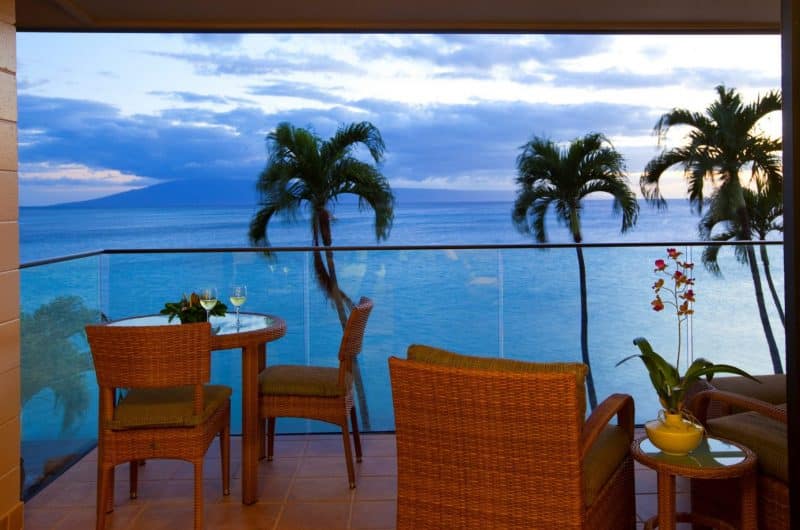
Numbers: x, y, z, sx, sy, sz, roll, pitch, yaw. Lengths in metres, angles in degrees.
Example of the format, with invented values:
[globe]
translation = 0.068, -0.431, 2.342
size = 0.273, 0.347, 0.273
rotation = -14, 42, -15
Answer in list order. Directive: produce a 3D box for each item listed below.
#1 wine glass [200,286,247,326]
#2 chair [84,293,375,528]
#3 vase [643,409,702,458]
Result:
[wine glass]
translation = -1.264, 0.304, 4.732
size = 0.286, 0.229, 0.100
rotation = 0, -5, -9
[chair]
translation = -1.092, 0.924, 4.539
size = 1.672, 0.985, 1.392
rotation = 1, -2, -7
[vase]
translation = 1.527, 0.942, 3.716
size = 0.301, 0.200, 0.287
rotation = 1, 4, 21
